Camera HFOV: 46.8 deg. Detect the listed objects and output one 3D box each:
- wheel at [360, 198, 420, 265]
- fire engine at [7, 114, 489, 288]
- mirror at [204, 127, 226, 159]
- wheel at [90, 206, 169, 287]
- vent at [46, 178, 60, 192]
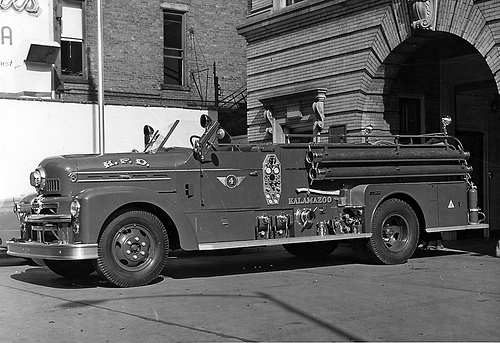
[{"bbox_3d":[3.274,1.332,13.231,1.325,1.397,0.461,-2,10,-3],"label":"wheel"},{"bbox_3d":[0.260,0.532,13.555,10.518,3.634,4.088,1,-4,-23],"label":"fire engine"},{"bbox_3d":[-0.654,-0.581,11.545,0.332,0.568,0.503,6,12,35],"label":"mirror"},{"bbox_3d":[-2.157,1.454,10.862,1.309,1.414,0.477,1,-10,-1],"label":"wheel"},{"bbox_3d":[-3.742,0.253,10.885,0.489,0.282,0.053,8,14,41],"label":"vent"}]
